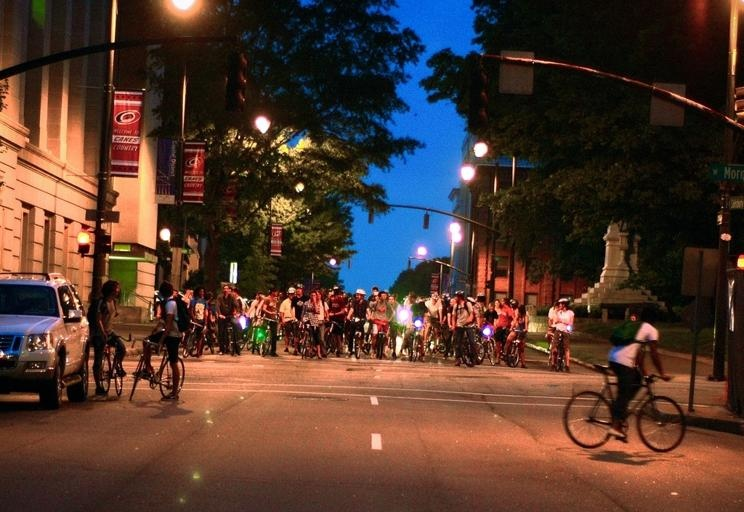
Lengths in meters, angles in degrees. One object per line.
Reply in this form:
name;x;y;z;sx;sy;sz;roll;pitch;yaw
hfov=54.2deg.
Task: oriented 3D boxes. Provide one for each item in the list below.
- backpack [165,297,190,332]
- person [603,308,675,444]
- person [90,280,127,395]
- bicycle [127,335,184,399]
backpack;-4.225;1.292;15.995;0.417;0.758;0.847;0;-9;3
person;4.390;1.943;12.081;0.862;2.183;0.860;-3;-9;21
person;-5.822;1.786;16.027;0.767;2.534;1.099;3;-9;-20
bicycle;-4.631;2.453;15.912;0.993;1.313;1.792;3;-10;-16
